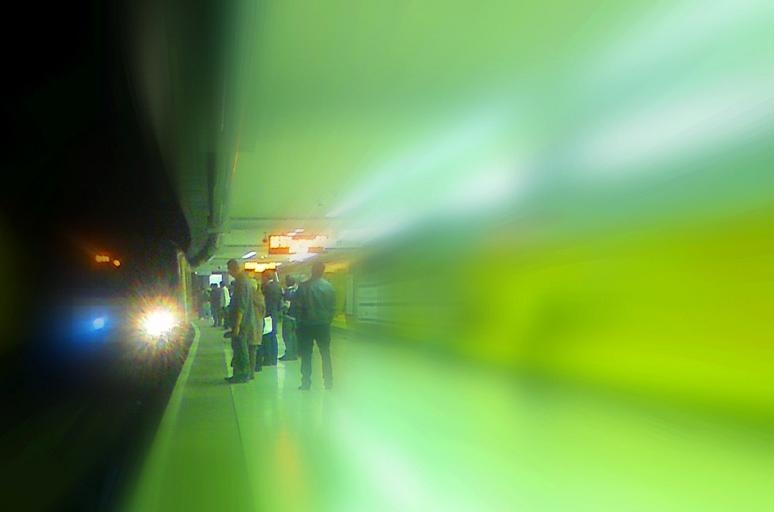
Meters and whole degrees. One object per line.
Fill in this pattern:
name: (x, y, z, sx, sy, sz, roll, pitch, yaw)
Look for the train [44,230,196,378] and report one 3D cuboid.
train: (-6.483, 1.271, 13.791, 2.828, 5.452, 3.644, 0, -93, -7)
